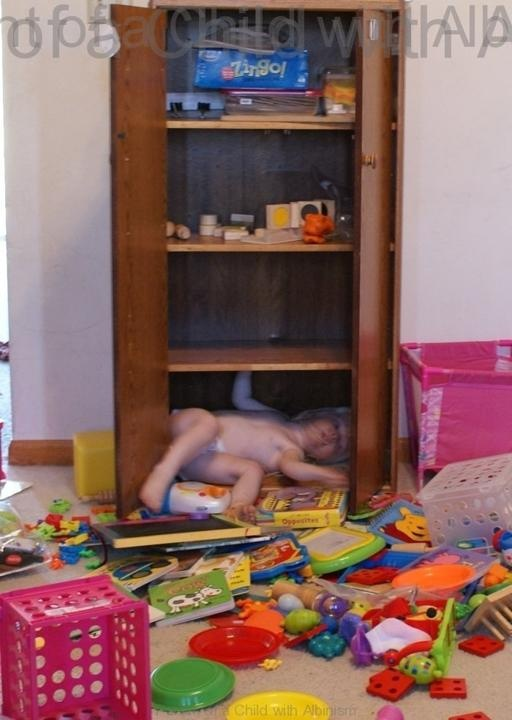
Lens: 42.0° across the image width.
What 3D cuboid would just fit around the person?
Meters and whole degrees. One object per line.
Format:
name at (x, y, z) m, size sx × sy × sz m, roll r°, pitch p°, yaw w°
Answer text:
person at (-0.068, 0.257, 2.018) m, size 0.888 × 0.281 × 0.625 m, roll 8°, pitch 8°, yaw -19°
